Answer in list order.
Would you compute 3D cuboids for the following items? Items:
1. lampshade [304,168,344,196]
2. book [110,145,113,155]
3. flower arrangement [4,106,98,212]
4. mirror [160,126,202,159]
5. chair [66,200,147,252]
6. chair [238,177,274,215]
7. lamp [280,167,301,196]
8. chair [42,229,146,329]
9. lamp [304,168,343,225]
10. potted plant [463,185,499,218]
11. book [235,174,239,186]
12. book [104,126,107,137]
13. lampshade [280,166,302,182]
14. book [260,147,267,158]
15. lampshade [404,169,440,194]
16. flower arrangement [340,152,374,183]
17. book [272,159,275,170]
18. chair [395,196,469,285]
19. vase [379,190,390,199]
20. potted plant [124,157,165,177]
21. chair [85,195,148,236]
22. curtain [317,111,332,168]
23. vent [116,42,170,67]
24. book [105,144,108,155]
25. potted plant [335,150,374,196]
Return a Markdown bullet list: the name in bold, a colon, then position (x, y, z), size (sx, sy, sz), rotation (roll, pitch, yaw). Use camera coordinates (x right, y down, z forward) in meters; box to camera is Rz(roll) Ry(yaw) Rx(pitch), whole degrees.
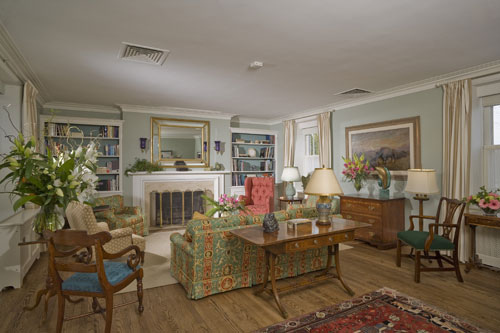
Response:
- **lampshade**: position (1.146, 0.260, 4.955), size (0.478, 0.403, 0.471), rotation (1, 4, 16)
- **book**: position (-3.500, -0.413, 8.136), size (0.067, 0.218, 0.073), rotation (-4, 14, -13)
- **flower arrangement**: position (-2.321, -0.008, 3.739), size (0.970, 1.121, 0.921), rotation (1, -3, 37)
- **mirror**: position (-1.972, -0.667, 8.910), size (0.988, 0.788, 0.075), rotation (1, -1, -27)
- **chair**: position (-2.789, 1.297, 6.269), size (0.999, 1.254, 1.172), rotation (3, 5, 40)
- **chair**: position (0.229, 0.929, 8.587), size (0.891, 1.230, 0.815), rotation (0, 3, 25)
- **lamp**: position (0.993, 0.407, 8.163), size (0.593, 0.706, 0.579), rotation (4, 6, 27)
- **chair**: position (-1.972, 1.442, 4.169), size (1.127, 1.436, 0.650), rotation (-5, 14, -18)
- **lamp**: position (1.171, 0.467, 5.174), size (0.683, 0.900, 0.646), rotation (5, -14, -10)
- **potted plant**: position (4.122, 0.580, 5.667), size (0.632, 0.439, 0.568), rotation (-5, -4, 5)
- **book**: position (-0.404, 0.408, 9.719), size (0.085, 0.349, 0.122), rotation (-2, 13, -5)
- **book**: position (-3.623, -0.876, 8.079), size (0.063, 0.265, 0.080), rotation (-5, 14, -17)
- **lampshade**: position (1.015, 0.191, 8.042), size (0.386, 0.376, 0.368), rotation (-5, 7, -41)
- **book**: position (0.422, -0.432, 10.244), size (0.211, 0.366, 0.304), rotation (1, 2, -42)
- **lampshade**: position (3.239, 0.266, 6.083), size (0.514, 0.525, 0.476), rotation (1, -3, -43)
- **flower arrangement**: position (2.462, 0.047, 7.523), size (0.561, 0.636, 0.528), rotation (15, -23, -37)
- **book**: position (0.772, -0.044, 10.394), size (0.057, 0.298, 0.091), rotation (-2, 14, -8)
- **chair**: position (3.305, 1.367, 5.771), size (1.107, 1.807, 1.265), rotation (2, -4, -4)
- **vase**: position (2.872, 0.605, 6.913), size (0.190, 0.182, 0.193), rotation (4, -5, -37)
- **potted plant**: position (-2.793, -0.016, 8.412), size (0.921, 0.413, 0.246), rotation (-7, 15, -28)
- **chair**: position (-2.998, 1.164, 7.322), size (0.923, 0.888, 0.891), rotation (4, 6, 33)
- **curtain**: position (1.954, -0.723, 8.381), size (0.336, 1.412, 0.598), rotation (1, 13, 5)
- **vent**: position (-1.717, -1.773, 5.385), size (0.891, 0.108, 0.901), rotation (-2, -9, -13)
- **book**: position (-3.598, -0.417, 8.110), size (0.044, 0.229, 0.075), rotation (-3, 14, -10)
- **potted plant**: position (2.449, 0.148, 7.712), size (0.602, 1.050, 1.150), rotation (-6, 14, -23)
